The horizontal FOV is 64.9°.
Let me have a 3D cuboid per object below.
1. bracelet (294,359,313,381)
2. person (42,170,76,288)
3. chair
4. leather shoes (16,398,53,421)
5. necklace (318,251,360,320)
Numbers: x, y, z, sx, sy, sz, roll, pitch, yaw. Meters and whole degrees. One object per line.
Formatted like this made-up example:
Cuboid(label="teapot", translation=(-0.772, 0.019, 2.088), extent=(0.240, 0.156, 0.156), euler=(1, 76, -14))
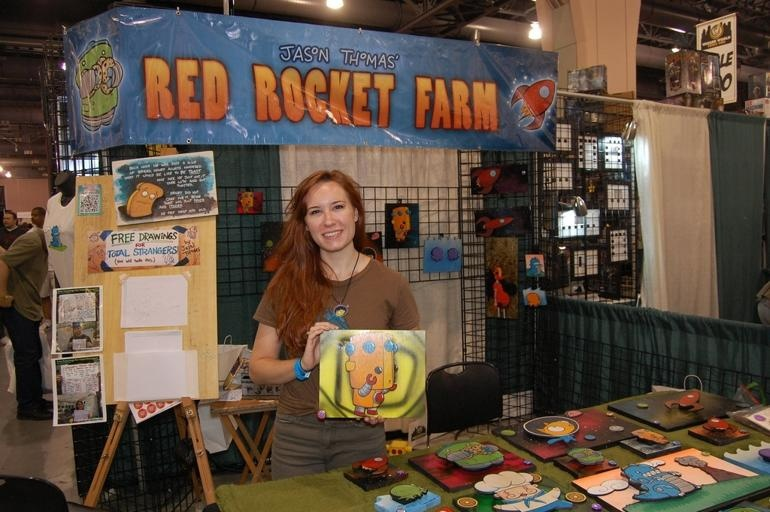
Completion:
Cuboid(label="bracelet", translation=(-0.473, 0.674, 3.530), extent=(0.097, 0.092, 0.121), euler=(5, -5, 2))
Cuboid(label="person", translation=(-3.051, -0.236, 5.702), extent=(0.230, 1.059, 0.853), euler=(-4, 2, -34))
Cuboid(label="chair", translation=(0.543, 1.088, 4.645), extent=(0.557, 0.946, 0.603), euler=(-3, -1, -13))
Cuboid(label="leather shoes", translation=(-3.820, 1.680, 6.457), extent=(0.481, 0.204, 0.175), euler=(0, 13, -25))
Cuboid(label="necklace", translation=(-0.240, 0.207, 3.574), extent=(0.242, 0.301, 0.123), euler=(-3, 2, -15))
